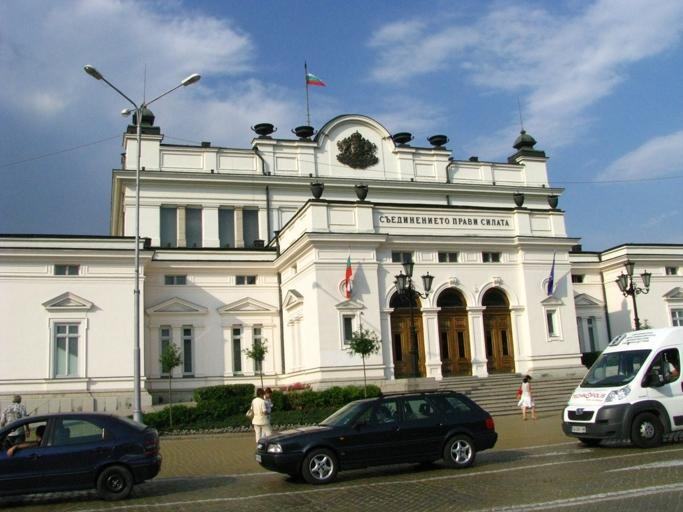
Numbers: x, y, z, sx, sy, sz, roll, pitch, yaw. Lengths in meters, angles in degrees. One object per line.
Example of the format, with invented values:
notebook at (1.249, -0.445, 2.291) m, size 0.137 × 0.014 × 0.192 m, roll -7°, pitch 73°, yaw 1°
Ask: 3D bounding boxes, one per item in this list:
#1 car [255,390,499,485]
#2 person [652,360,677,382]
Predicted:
car at (0.812, 4.990, 19.569) m, size 6.192 × 1.676 × 2.678 m, roll 3°, pitch -14°, yaw -18°
person at (9.835, 3.547, 21.123) m, size 0.849 × 0.317 × 0.568 m, roll -1°, pitch 8°, yaw 8°
